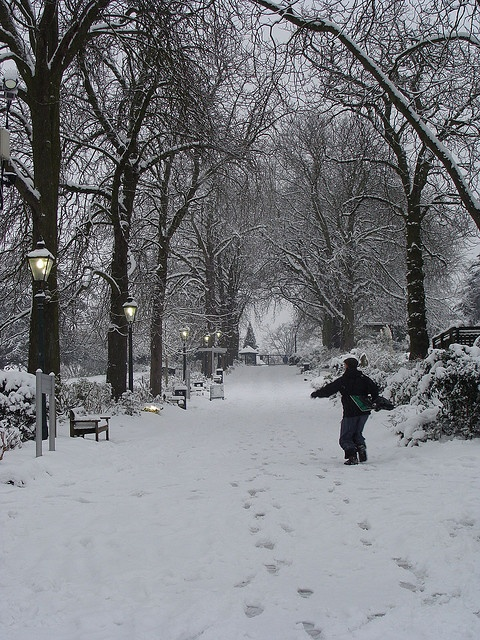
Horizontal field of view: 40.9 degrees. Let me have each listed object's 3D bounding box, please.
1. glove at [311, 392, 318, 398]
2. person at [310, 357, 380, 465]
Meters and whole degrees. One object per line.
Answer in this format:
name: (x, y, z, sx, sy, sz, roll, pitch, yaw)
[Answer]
glove: (1.079, 1.107, 9.566, 0.094, 0.028, 0.093, -5, 4, -38)
person: (1.640, 1.319, 9.654, 0.841, 1.575, 0.793, -1, -1, 12)
